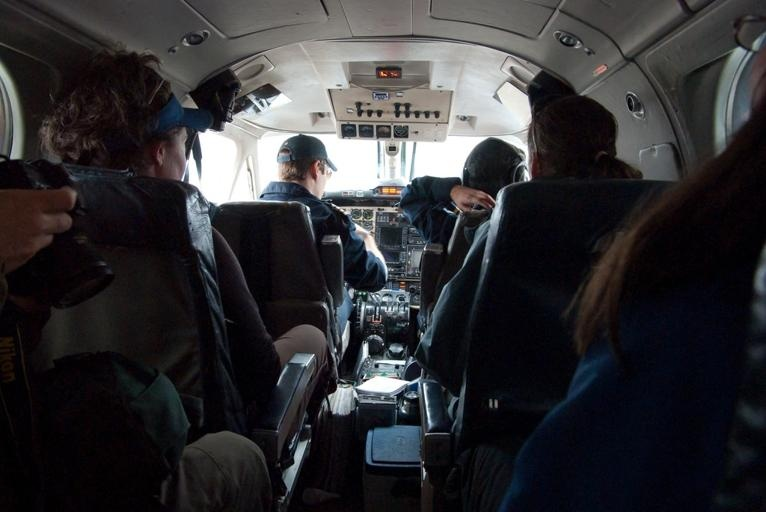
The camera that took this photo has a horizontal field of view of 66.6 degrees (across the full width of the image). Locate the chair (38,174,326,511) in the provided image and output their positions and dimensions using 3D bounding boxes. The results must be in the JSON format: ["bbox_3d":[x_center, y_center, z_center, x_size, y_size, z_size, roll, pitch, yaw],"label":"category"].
[{"bbox_3d":[-0.660,0.169,2.194,0.729,0.945,0.816,6,11,12],"label":"chair"}]

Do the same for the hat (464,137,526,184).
[{"bbox_3d":[0.674,-0.556,3.549,0.357,0.316,0.276,6,3,35],"label":"hat"}]

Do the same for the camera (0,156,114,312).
[{"bbox_3d":[-0.925,-0.074,1.653,0.304,0.392,0.164,-28,5,-14],"label":"camera"}]

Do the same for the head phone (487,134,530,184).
[{"bbox_3d":[0.784,-0.545,3.466,0.281,0.331,0.360,3,-3,11],"label":"head phone"}]

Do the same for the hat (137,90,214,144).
[{"bbox_3d":[-0.808,-0.544,2.338,0.221,0.134,0.065,-16,-34,-18],"label":"hat"}]
